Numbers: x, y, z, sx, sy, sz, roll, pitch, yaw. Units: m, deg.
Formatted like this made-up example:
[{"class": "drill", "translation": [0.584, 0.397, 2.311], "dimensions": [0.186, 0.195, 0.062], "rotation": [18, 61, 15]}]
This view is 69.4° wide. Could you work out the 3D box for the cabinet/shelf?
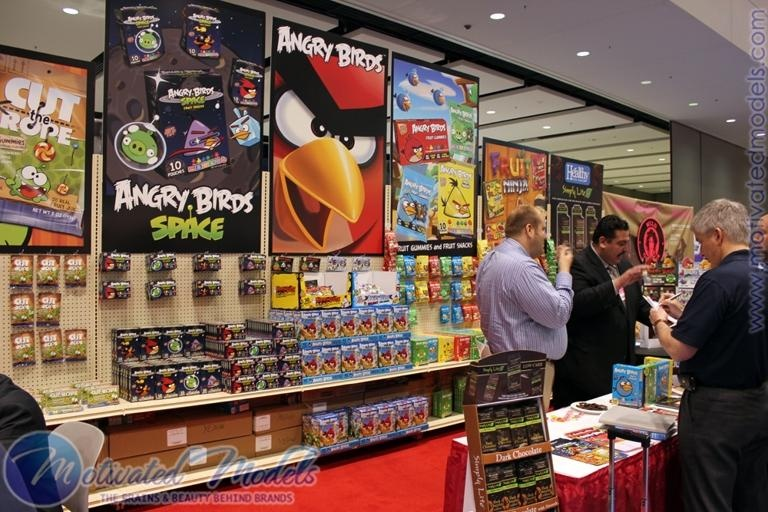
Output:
[{"class": "cabinet/shelf", "translation": [-0.742, 1.515, 5.225], "dimensions": [4.324, 1.043, 1.363], "rotation": [0, -1, -43]}]
